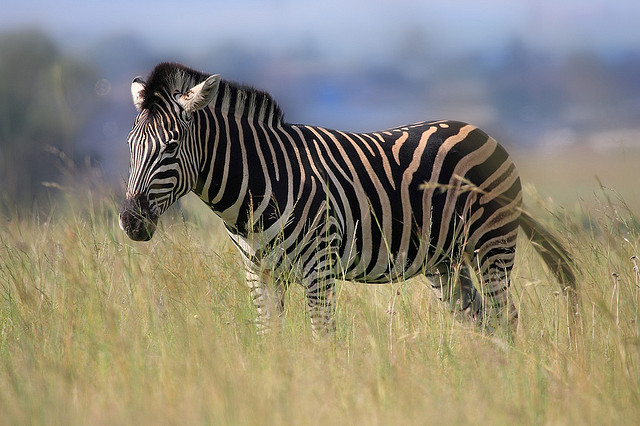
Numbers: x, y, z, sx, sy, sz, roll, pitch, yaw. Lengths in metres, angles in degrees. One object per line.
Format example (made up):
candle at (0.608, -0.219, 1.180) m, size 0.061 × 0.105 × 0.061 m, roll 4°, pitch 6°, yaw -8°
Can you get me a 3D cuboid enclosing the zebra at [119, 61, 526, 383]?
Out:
zebra at (0.354, 0.324, 7.051) m, size 4.148 × 3.298 × 1.183 m, roll -2°, pitch -3°, yaw -20°
